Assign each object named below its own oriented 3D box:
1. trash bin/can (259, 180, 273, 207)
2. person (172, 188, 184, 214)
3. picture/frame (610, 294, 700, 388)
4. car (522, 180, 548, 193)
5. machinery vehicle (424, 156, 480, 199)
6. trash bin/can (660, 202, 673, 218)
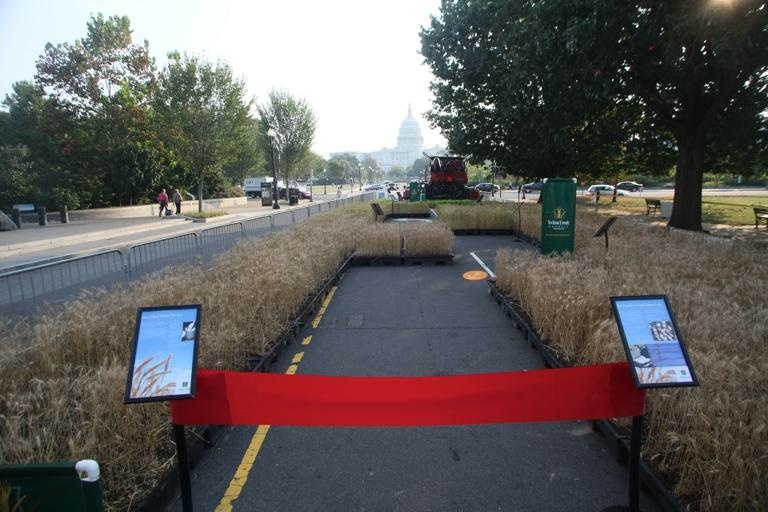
[{"bbox_3d":[-9.963,-5.238,47.458,0.813,1.755,2.270,-2,12,-8],"label":"trash bin/can"},{"bbox_3d":[-13.394,-3.503,36.089,0.544,1.553,2.314,-5,13,-21],"label":"person"},{"bbox_3d":[3.740,1.181,7.710,1.020,1.151,0.464,0,11,1],"label":"picture/frame"},{"bbox_3d":[18.488,-8.516,68.963,1.439,1.413,5.216,1,13,6],"label":"car"},{"bbox_3d":[4.520,-5.765,40.174,2.111,2.110,3.923,0,15,1],"label":"machinery vehicle"},{"bbox_3d":[15.686,-2.595,30.957,0.472,0.738,1.191,4,13,24],"label":"trash bin/can"}]
